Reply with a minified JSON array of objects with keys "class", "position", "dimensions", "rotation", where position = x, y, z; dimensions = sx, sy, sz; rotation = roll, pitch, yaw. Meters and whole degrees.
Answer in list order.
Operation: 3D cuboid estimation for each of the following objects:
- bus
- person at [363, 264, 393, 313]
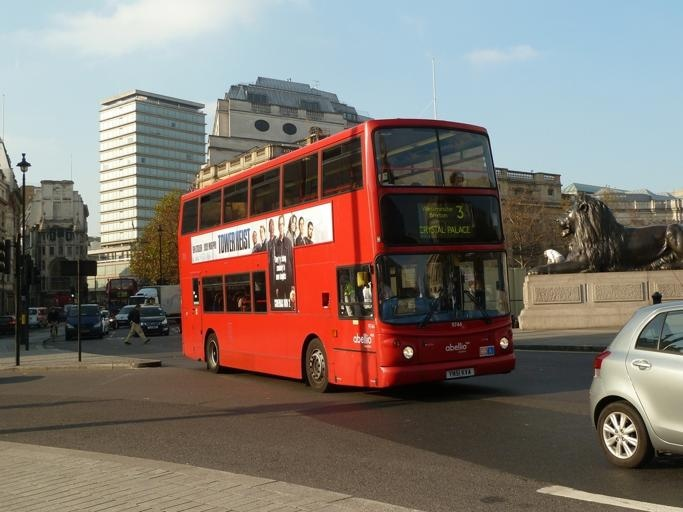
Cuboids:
[{"class":"bus","position":[-0.899,0.338,17.335],"dimensions":[3.271,5.360,10.526],"rotation":[-1,-3,-34]},{"class":"person","position":[0.618,0.601,12.561],"dimensions":[0.674,1.091,0.321],"rotation":[-2,-1,37]}]
